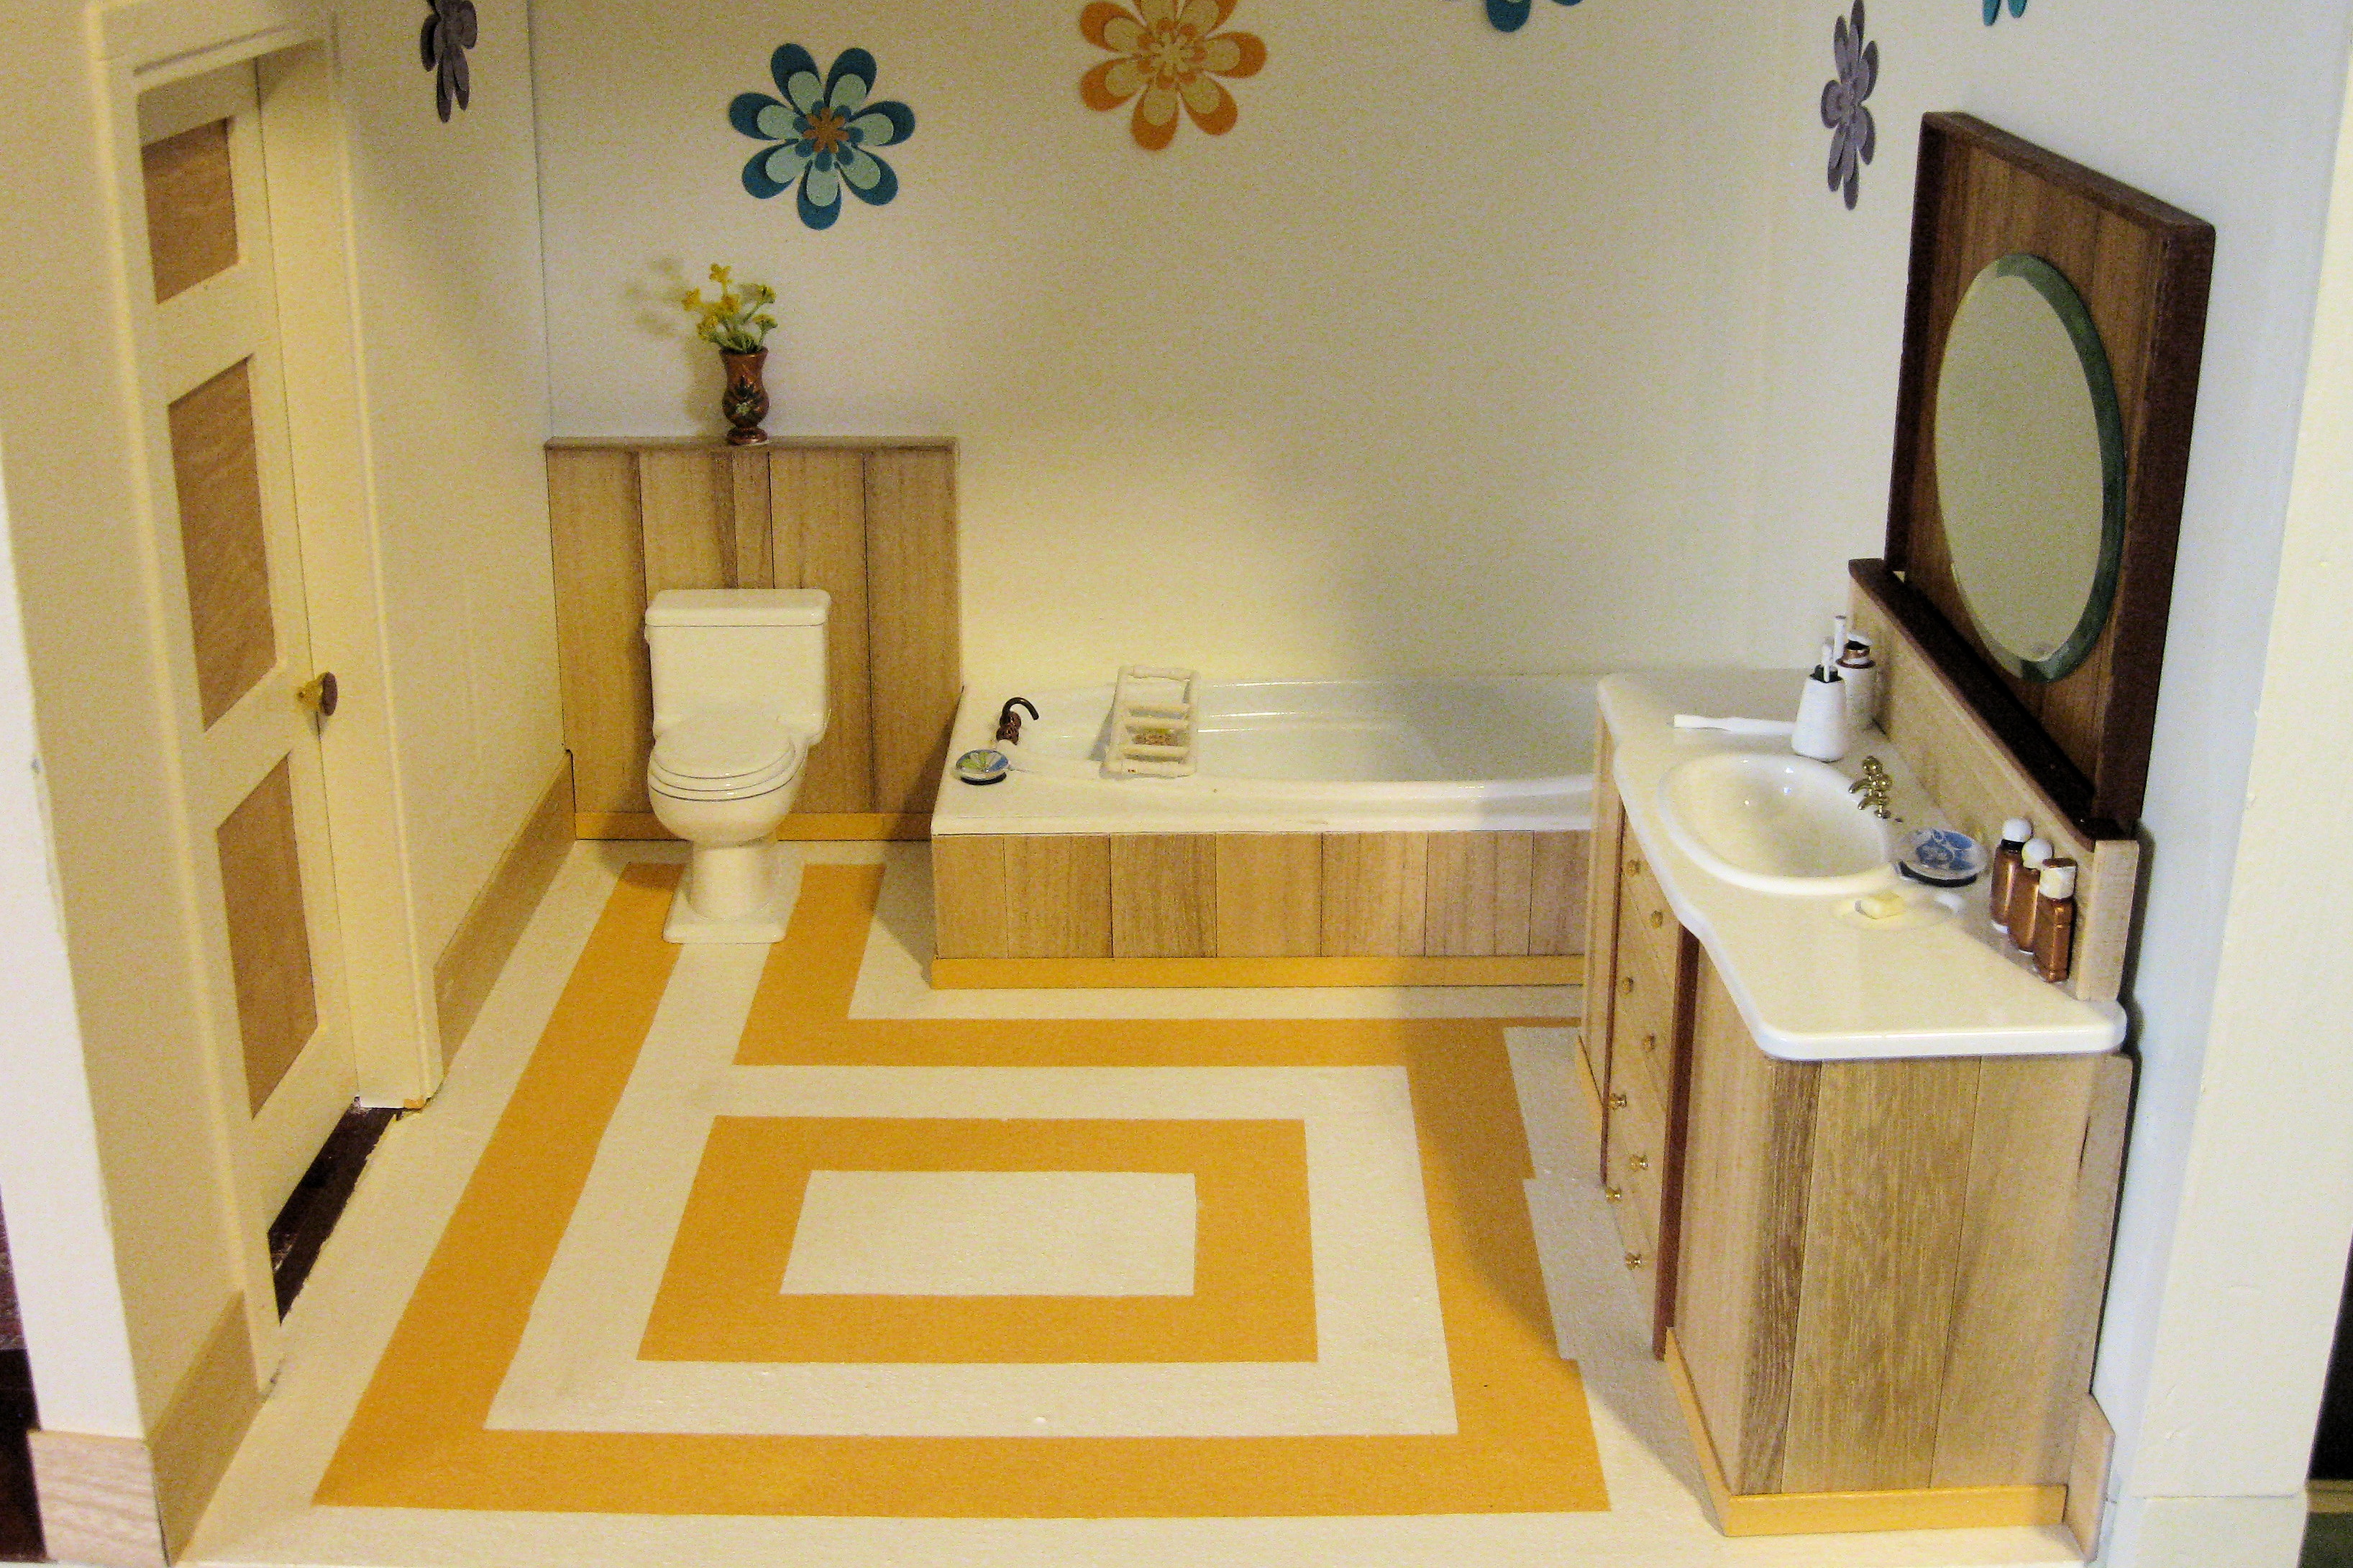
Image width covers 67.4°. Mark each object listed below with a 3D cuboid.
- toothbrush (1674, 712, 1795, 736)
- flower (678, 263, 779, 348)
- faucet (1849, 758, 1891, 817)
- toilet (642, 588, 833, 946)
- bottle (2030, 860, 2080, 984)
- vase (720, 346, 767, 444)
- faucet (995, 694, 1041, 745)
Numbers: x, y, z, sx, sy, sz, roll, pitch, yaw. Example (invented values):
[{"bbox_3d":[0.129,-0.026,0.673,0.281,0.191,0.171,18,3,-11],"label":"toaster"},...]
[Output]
[{"bbox_3d":[1.332,-0.145,4.245,0.296,0.046,0.042,3,5,15],"label":"toothbrush"},{"bbox_3d":[-1.429,-1.503,5.617,0.297,0.266,0.285,-3,-1,-16],"label":"flower"},{"bbox_3d":[1.546,0.010,3.943,0.103,0.050,0.137,0,25,4],"label":"faucet"},{"bbox_3d":[-1.364,-0.070,5.585,0.568,1.053,0.588,-3,12,-14],"label":"toilet"},{"bbox_3d":[1.665,0.268,3.365,0.079,0.229,0.052,6,14,28],"label":"bottle"},{"bbox_3d":[-1.397,-1.251,5.709,0.155,0.310,0.182,-3,12,-11],"label":"vase"},{"bbox_3d":[-0.525,-0.206,5.684,0.181,0.171,0.098,2,8,-26],"label":"faucet"}]
